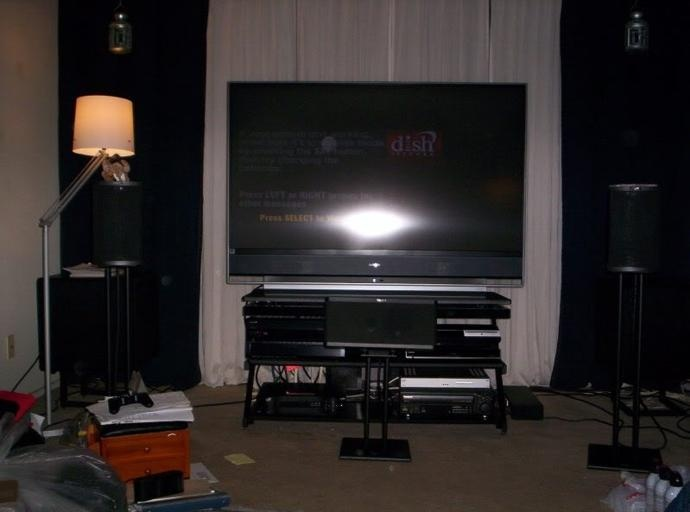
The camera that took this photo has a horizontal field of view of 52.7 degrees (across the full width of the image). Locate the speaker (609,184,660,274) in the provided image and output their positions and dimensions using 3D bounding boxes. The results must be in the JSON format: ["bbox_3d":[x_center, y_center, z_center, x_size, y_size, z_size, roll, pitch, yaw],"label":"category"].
[{"bbox_3d":[1.627,-0.158,3.920,0.273,0.484,0.109,-1,-5,22],"label":"speaker"}]

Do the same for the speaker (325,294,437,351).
[{"bbox_3d":[0.208,0.382,4.065,0.635,0.285,0.132,1,-4,-6],"label":"speaker"}]

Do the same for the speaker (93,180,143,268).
[{"bbox_3d":[-1.296,-0.189,3.976,0.272,0.482,0.114,3,-5,-21],"label":"speaker"}]

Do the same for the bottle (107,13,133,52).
[{"bbox_3d":[-1.464,-1.448,4.540,0.124,0.247,0.260,3,-5,-22],"label":"bottle"}]

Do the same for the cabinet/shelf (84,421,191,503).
[{"bbox_3d":[-1.101,1.022,3.896,0.599,0.413,0.383,-6,21,-21],"label":"cabinet/shelf"}]
